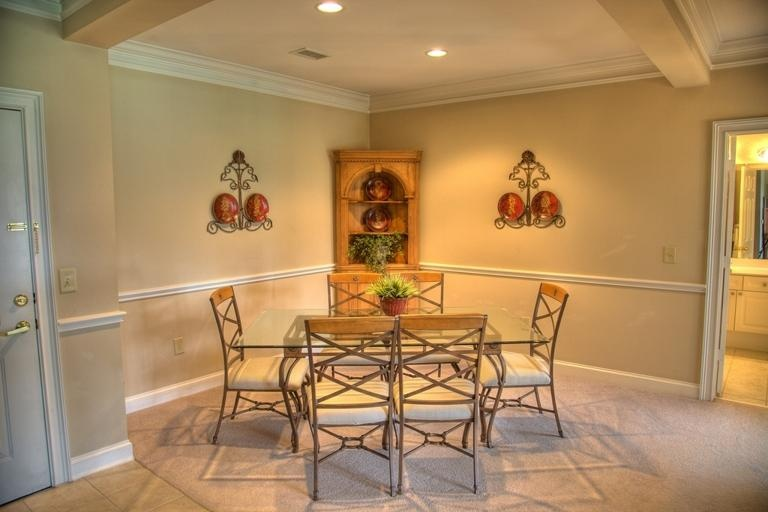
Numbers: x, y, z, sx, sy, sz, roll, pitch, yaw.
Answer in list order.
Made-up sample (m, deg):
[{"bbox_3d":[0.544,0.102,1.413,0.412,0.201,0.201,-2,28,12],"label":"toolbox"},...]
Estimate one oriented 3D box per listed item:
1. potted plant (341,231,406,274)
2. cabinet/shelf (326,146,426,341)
[{"bbox_3d":[-0.143,-0.096,6.212,0.551,0.253,0.483,2,4,32],"label":"potted plant"},{"bbox_3d":[-0.085,-0.036,6.630,1.237,2.477,0.362,-1,3,-10],"label":"cabinet/shelf"}]
